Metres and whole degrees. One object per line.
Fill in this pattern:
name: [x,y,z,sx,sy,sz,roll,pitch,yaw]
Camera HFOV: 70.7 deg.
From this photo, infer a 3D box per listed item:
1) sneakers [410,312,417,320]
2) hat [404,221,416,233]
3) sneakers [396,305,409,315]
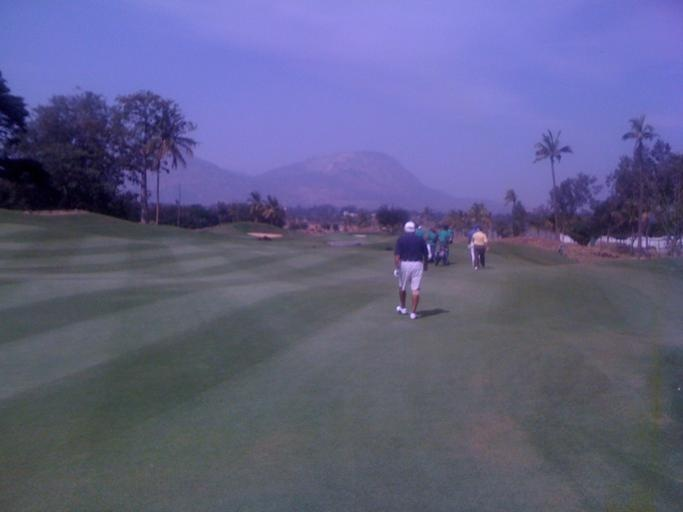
sneakers: [2.127,1.762,14.191,0.104,0.144,0.299,-2,-18,13]
hat: [2.005,-0.863,14.132,0.286,0.207,0.450,3,5,7]
sneakers: [1.872,1.651,14.811,0.203,0.233,0.528,-1,-5,1]
